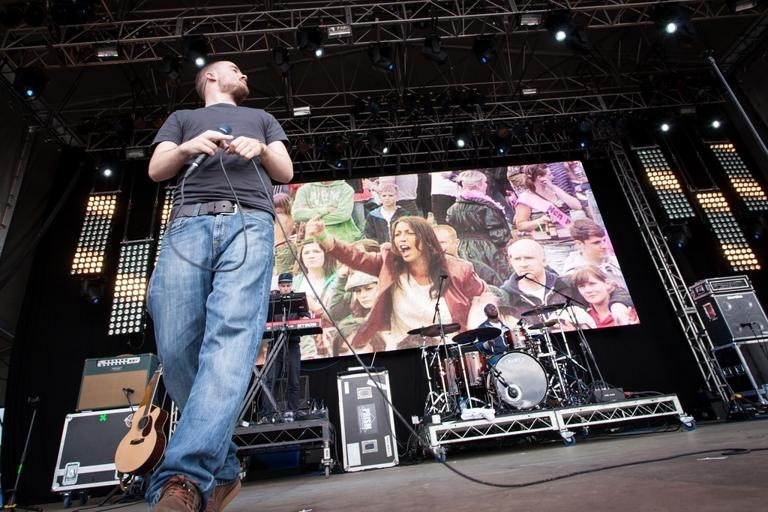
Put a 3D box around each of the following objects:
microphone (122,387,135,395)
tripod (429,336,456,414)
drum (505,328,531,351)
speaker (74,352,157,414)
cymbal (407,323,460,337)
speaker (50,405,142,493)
[{"bbox_3d":[-3.520,1.862,7.007,0.147,0.103,0.052,10,1,-13],"label":"microphone"},{"bbox_3d":[0.854,1.751,7.417,0.597,0.957,1.053,-4,-17,6],"label":"tripod"},{"bbox_3d":[1.922,1.174,7.241,0.302,0.267,0.295,8,-25,-35],"label":"drum"},{"bbox_3d":[-3.786,1.852,7.465,1.295,0.935,0.719,-4,-26,0],"label":"speaker"},{"bbox_3d":[0.766,1.128,7.739,0.402,0.090,0.394,-14,-22,17],"label":"cymbal"},{"bbox_3d":[-3.890,2.588,7.083,1.175,1.115,0.340,-2,-18,1],"label":"speaker"}]
